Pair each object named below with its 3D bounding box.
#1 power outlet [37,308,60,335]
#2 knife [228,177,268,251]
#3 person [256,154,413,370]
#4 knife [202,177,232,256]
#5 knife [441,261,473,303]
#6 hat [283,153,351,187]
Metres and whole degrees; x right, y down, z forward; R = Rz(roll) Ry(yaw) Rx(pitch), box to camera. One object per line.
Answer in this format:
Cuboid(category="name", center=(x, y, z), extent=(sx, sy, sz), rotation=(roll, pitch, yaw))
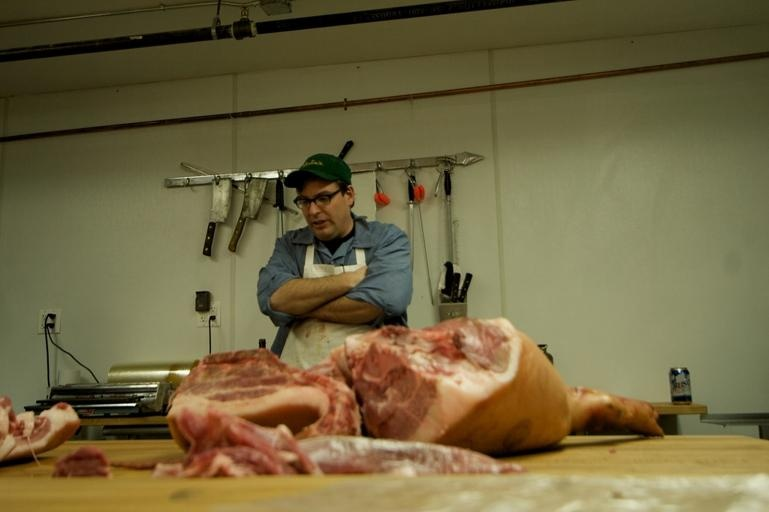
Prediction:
Cuboid(category="power outlet", center=(-2.897, 0.578, 5.659), extent=(0.193, 0.206, 0.109), rotation=(-1, -14, 0))
Cuboid(category="knife", center=(-1.131, -0.305, 5.467), extent=(0.232, 0.716, 0.058), rotation=(18, -3, 2))
Cuboid(category="person", center=(-0.308, 0.000, 3.964), extent=(0.927, 1.268, 0.660), rotation=(0, -3, -2))
Cuboid(category="knife", center=(-1.381, -0.272, 5.398), extent=(0.189, 0.740, 0.086), rotation=(7, -3, -2))
Cuboid(category="knife", center=(0.555, 0.213, 5.066), extent=(0.229, 0.284, 0.196), rotation=(14, -21, -34))
Cuboid(category="hat", center=(-0.400, -0.536, 4.138), extent=(0.327, 0.217, 0.437), rotation=(-1, -7, 22))
